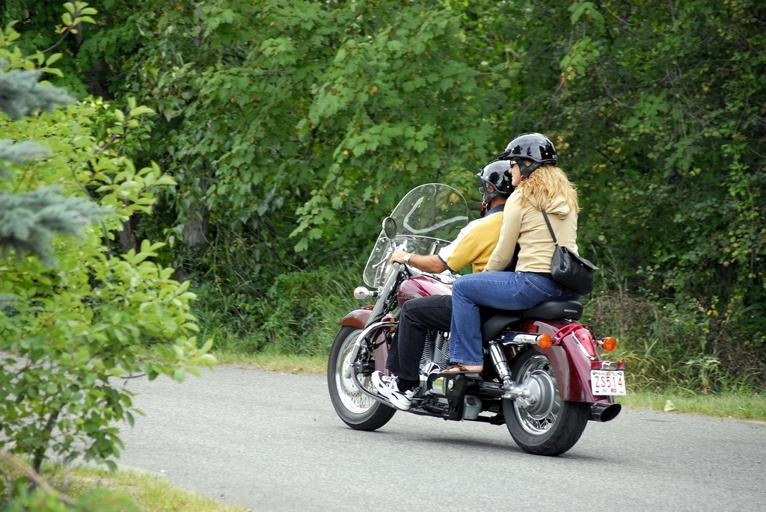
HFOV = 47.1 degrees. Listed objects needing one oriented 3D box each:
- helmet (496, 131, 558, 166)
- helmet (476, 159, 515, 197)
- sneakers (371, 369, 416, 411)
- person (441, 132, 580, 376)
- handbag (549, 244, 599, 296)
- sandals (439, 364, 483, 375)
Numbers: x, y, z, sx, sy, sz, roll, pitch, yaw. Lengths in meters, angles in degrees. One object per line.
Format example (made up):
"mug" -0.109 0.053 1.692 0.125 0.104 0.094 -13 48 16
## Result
"helmet" 1.379 -1.008 8.189 0.415 0.212 0.304 6 -5 16
"helmet" 1.036 -0.763 8.442 0.317 0.331 0.368 -4 20 -22
"sneakers" 0.067 1.280 8.415 0.532 0.252 0.205 39 4 32
"person" 1.219 -0.021 7.974 1.170 2.288 0.455 4 -4 2
"handbag" 1.674 0.113 7.812 0.386 0.427 0.212 5 -4 -3
"sandals" 0.725 1.026 8.019 0.322 0.080 0.128 -1 -7 34
